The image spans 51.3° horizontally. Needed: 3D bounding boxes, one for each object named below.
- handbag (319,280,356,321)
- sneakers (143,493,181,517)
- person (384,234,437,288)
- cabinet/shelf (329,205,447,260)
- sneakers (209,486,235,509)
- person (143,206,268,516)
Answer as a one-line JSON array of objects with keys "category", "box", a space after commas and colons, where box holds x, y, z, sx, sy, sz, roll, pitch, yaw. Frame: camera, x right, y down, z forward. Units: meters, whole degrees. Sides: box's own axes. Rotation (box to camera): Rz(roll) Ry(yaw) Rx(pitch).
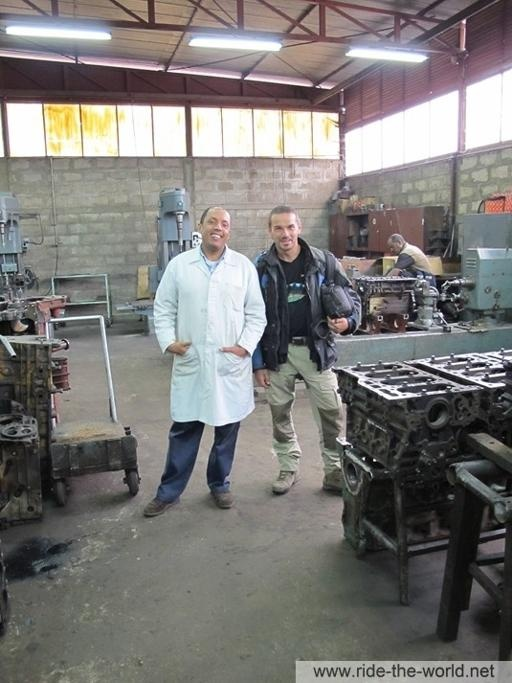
[{"category": "handbag", "box": [0.396, -0.201, 2.648, 0.123, 0.214, 0.170, -21, -21, 31]}, {"category": "sneakers", "box": [-0.480, 0.828, 2.712, 0.181, 0.069, 0.063, -4, 6, -39]}, {"category": "person", "box": [1.859, -1.038, 6.488, 0.487, 0.570, 1.360, 1, 8, 14]}, {"category": "cabinet/shelf", "box": [2.211, -1.946, 9.658, 0.476, 0.842, 3.279, -7, 12, -17]}, {"category": "sneakers", "box": [-0.171, 0.803, 2.735, 0.061, 0.055, 0.139, 0, 0, -23]}, {"category": "person", "box": [-0.265, 0.100, 2.654, 0.622, 1.501, 0.370, -1, 9, 2]}]
